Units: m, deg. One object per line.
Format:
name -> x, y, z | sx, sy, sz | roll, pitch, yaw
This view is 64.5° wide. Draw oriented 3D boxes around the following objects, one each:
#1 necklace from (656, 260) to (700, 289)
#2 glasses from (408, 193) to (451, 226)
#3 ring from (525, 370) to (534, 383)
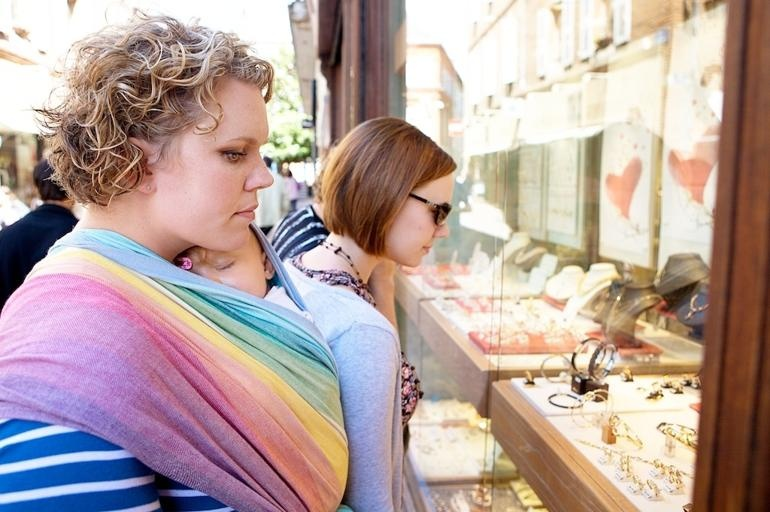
necklace -> 0.645, 0.041, 1.334 | 0.055, 0.016, 0.052 | -27, 3, -26
glasses -> 0.133, -0.140, 1.844 | 0.104, 0.038, 0.100 | 23, -1, 21
ring -> 0.435, 0.363, 1.844 | 0.019, 0.033, 0.038 | -3, 8, -28
